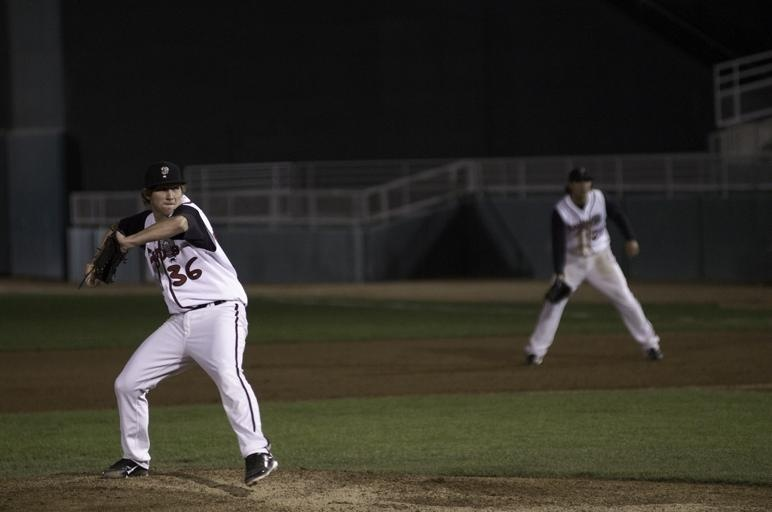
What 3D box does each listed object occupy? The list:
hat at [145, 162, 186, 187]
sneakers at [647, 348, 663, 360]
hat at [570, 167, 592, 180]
[{"bbox_3d":[-4.083,-1.493,25.477,0.711,0.499,0.262,-1,0,-9],"label":"hat"},{"bbox_3d":[5.503,1.996,28.416,0.260,0.292,0.295,2,0,4],"label":"sneakers"},{"bbox_3d":[3.938,-1.660,28.234,0.451,0.285,0.231,-1,0,22],"label":"hat"}]
